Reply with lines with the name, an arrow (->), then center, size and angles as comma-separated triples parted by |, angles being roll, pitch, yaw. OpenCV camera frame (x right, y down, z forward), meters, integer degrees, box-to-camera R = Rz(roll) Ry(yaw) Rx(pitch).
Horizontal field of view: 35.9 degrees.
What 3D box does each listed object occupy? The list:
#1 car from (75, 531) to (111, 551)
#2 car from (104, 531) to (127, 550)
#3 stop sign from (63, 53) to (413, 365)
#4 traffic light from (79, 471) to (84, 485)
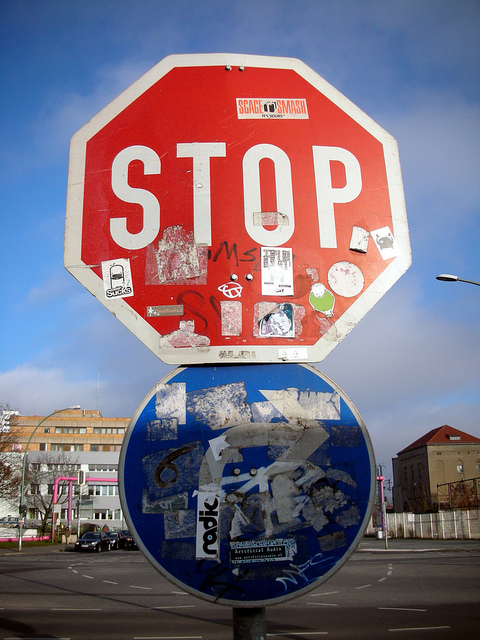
car -> -7.505, 11.299, 37.822 | 1.065, 0.917, 2.562 | -4, -14, 7
car -> -6.910, 12.392, 42.092 | 0.852, 0.622, 1.844 | -2, -29, 3
stop sign -> -0.024, -0.334, 2.575 | 1.246, 1.150, 0.039 | 0, -23, -7
traffic light -> -8.442, 8.323, 39.521 | 0.215, 0.626, 1.255 | 2, -14, -15
